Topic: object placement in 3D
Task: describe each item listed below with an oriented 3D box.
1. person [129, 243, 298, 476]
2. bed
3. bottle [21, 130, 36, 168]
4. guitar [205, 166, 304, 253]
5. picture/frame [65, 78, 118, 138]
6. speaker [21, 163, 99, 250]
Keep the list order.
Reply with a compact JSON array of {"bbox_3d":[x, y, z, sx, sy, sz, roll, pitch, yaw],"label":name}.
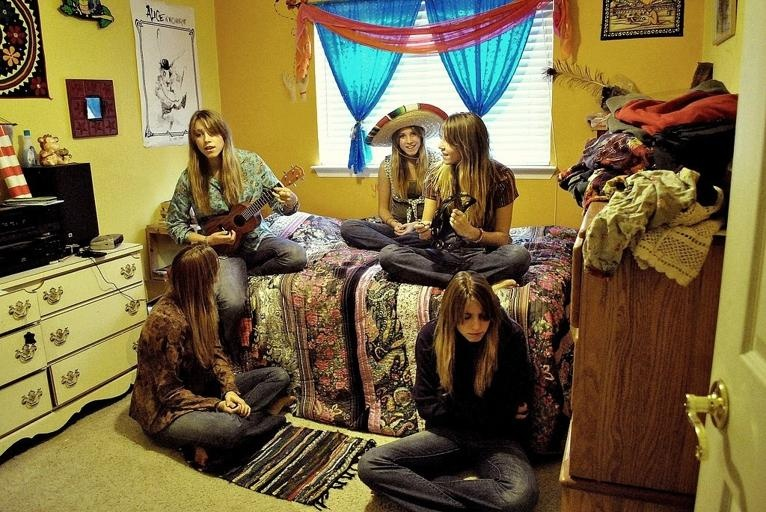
[{"bbox_3d":[-0.918,0.487,2.789,0.780,0.988,0.775,2,10,-8],"label":"person"},{"bbox_3d":[0.171,0.442,3.011,1.300,0.506,1.314,3,12,21],"label":"bed"},{"bbox_3d":[-2.112,-0.648,3.211,0.077,0.213,0.261,-13,20,-30],"label":"bottle"},{"bbox_3d":[-0.827,-0.287,3.419,0.642,0.254,0.081,-41,25,-11],"label":"guitar"},{"bbox_3d":[-1.962,-0.999,3.607,0.036,0.369,0.372,2,24,22],"label":"picture/frame"},{"bbox_3d":[-1.885,-0.295,3.211,0.338,0.496,0.227,-13,19,-30],"label":"speaker"}]
